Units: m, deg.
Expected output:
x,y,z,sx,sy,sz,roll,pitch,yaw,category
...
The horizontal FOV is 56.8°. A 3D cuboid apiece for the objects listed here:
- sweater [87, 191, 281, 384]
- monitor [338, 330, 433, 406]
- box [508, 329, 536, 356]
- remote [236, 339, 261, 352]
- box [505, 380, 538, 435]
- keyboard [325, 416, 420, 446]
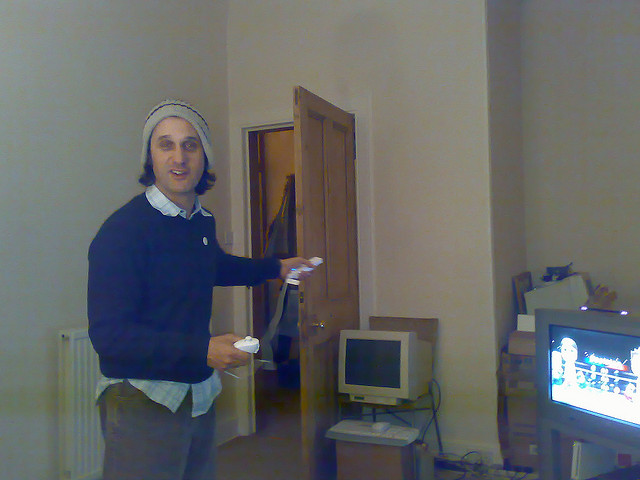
x,y,z,sx,sy,sz,roll,pitch,yaw,category
-0.521,0.151,2.437,0.562,0.737,0.913,7,4,32,sweater
0.418,0.848,3.946,0.506,0.475,0.367,-2,-8,33,monitor
1.366,0.681,3.999,0.233,0.157,0.243,0,0,17,box
-0.255,0.378,2.120,0.059,0.032,0.045,-3,7,-3,remote
1.336,1.111,3.948,0.195,0.347,0.094,1,0,27,box
0.307,1.168,3.574,0.321,0.049,0.222,-1,5,24,keyboard
